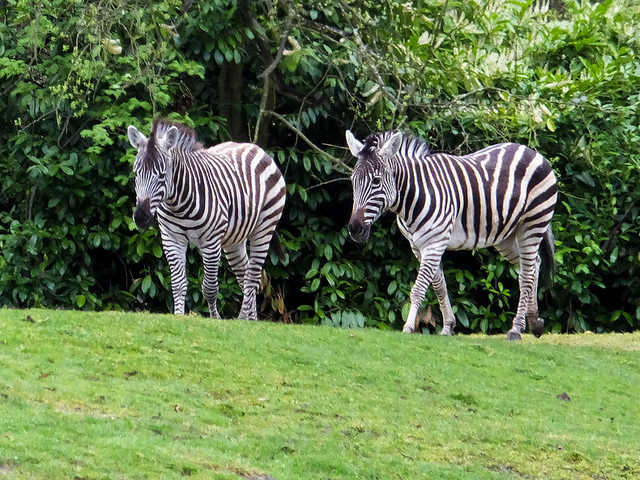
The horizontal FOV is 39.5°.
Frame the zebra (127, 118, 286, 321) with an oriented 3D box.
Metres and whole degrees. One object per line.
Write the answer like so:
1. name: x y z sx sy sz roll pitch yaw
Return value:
1. zebra: -1.323 -0.249 11.310 0.908 2.457 3.315 5 6 26
